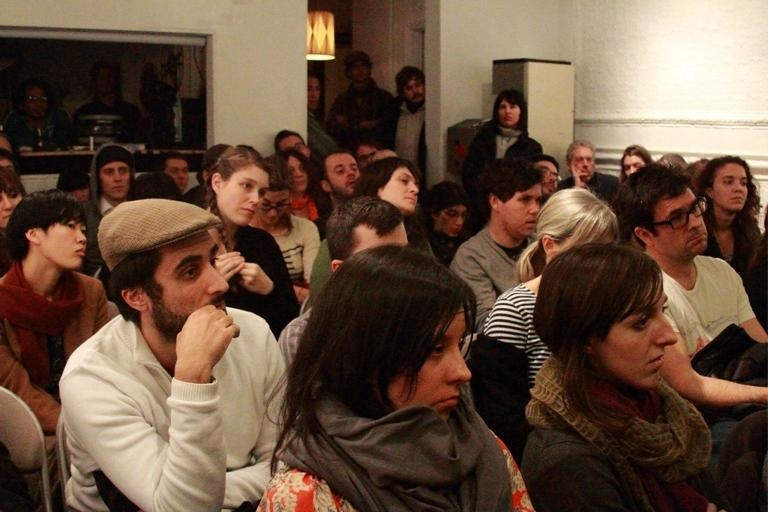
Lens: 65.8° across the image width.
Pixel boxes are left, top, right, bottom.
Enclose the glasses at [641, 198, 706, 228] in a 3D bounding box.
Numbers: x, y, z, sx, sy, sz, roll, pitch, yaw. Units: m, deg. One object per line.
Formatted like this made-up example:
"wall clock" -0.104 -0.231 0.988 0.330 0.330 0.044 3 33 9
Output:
"glasses" 1.594 -0.218 3.222 0.209 0.062 0.210 -25 2 -22
